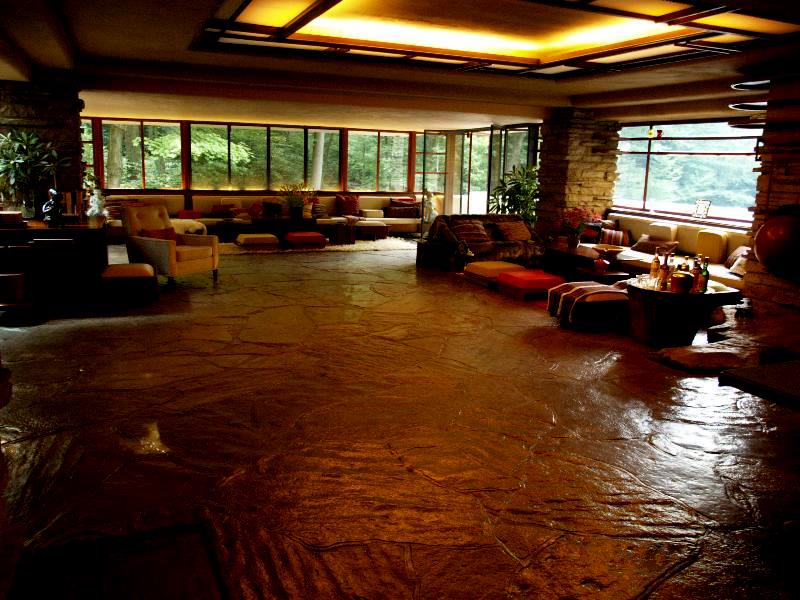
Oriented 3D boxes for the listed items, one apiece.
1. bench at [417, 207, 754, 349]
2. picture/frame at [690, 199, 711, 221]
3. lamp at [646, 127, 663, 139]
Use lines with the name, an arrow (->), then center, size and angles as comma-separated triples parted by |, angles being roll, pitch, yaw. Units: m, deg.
bench -> 2.437, -0.549, 8.594 | 2.316, 1.285, 5.295 | -4, 11, -21
picture/frame -> 5.805, -1.705, 11.049 | 0.386, 0.356, 0.135 | 16, -8, 33
lamp -> 5.142, -3.337, 11.640 | 0.249, 0.228, 0.493 | 5, 12, 18
